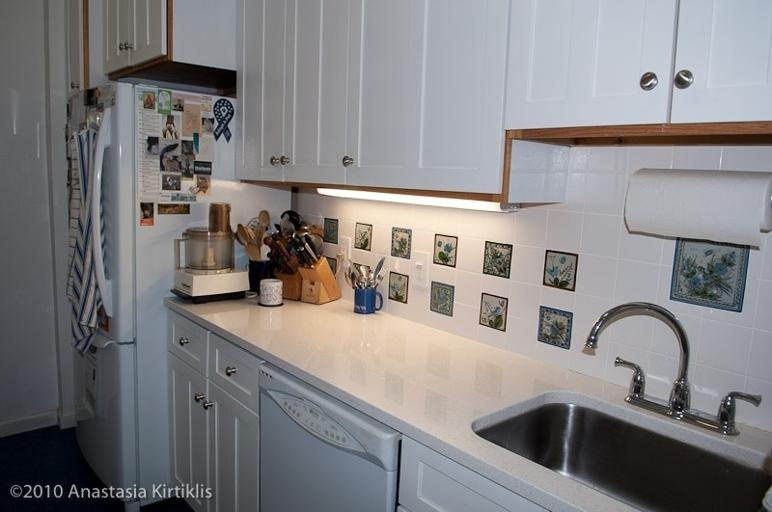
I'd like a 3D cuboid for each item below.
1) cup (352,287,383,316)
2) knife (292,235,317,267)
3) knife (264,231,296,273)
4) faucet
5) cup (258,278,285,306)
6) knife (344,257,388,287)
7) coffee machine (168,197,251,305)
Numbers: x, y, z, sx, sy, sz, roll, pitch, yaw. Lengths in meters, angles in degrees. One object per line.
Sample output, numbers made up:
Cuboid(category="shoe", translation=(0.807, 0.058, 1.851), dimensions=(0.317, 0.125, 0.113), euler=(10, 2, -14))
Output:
Cuboid(category="cup", translation=(-0.085, 0.227, 2.749), dimensions=(0.158, 0.117, 0.103), euler=(8, 11, 36))
Cuboid(category="knife", translation=(-0.433, -0.033, 2.833), dimensions=(0.104, 0.183, 0.064), euler=(-4, 3, 4))
Cuboid(category="knife", translation=(-0.567, -0.015, 2.925), dimensions=(0.160, 0.228, 0.067), euler=(19, 39, 32))
Cuboid(category="faucet", translation=(0.909, 0.335, 1.936), dimensions=(0.361, 0.367, 0.251), euler=(7, 16, 19))
Cuboid(category="cup", translation=(-0.591, 0.194, 2.864), dimensions=(0.126, 0.135, 0.119), euler=(7, 10, -1))
Cuboid(category="knife", translation=(-0.097, 0.098, 2.733), dimensions=(0.161, 0.073, 0.170), euler=(-5, -9, -12))
Cuboid(category="coffee machine", translation=(-0.926, -0.010, 2.867), dimensions=(0.483, 0.659, 0.382), euler=(-1, 6, -39))
